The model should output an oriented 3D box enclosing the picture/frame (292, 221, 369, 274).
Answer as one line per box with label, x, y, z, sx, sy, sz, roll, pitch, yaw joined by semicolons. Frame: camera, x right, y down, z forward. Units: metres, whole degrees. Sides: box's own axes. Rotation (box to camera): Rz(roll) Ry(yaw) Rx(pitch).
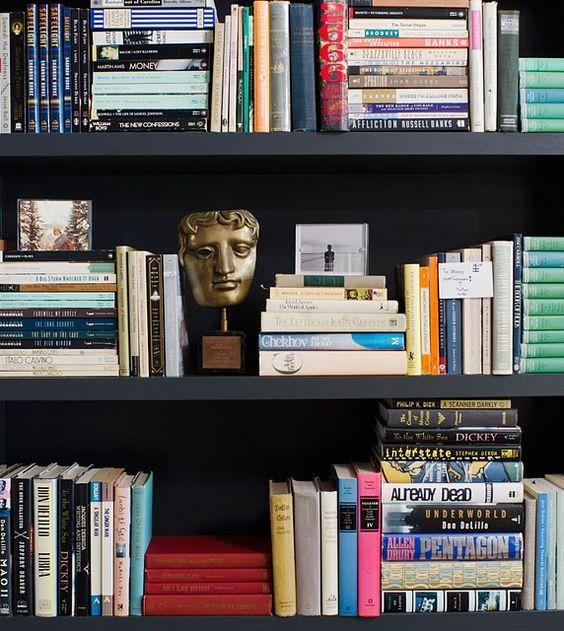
picture/frame;0.107;-0.147;2.303;0.104;0.099;0.042;1;-4;3
